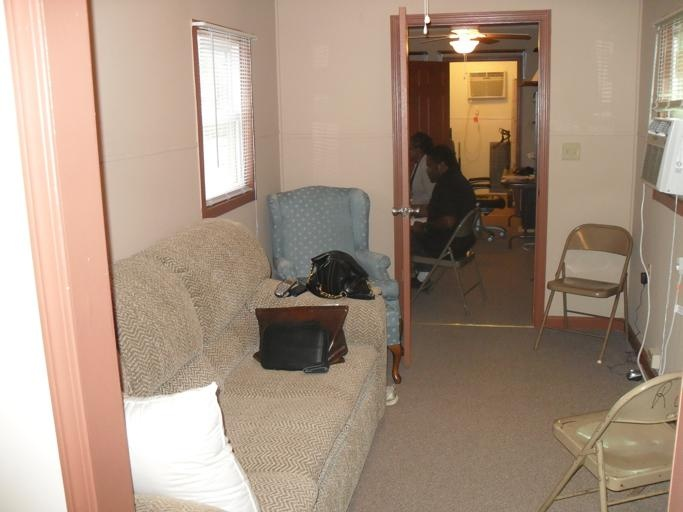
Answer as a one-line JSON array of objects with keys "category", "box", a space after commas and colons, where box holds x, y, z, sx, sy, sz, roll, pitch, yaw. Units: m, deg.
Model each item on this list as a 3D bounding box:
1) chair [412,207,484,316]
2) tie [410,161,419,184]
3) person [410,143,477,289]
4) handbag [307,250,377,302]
[{"category": "chair", "box": [1.163, -0.076, 5.640, 0.685, 0.988, 1.286, 5, 17, 14]}, {"category": "tie", "box": [0.845, -1.013, 6.493, 0.065, 0.182, 0.133, 26, 21, 25]}, {"category": "person", "box": [1.026, -0.479, 5.905, 0.738, 1.367, 0.731, 9, 18, 26]}, {"category": "handbag", "box": [-0.004, 0.127, 3.451, 0.473, 0.345, 0.281, 10, 21, 10]}]
